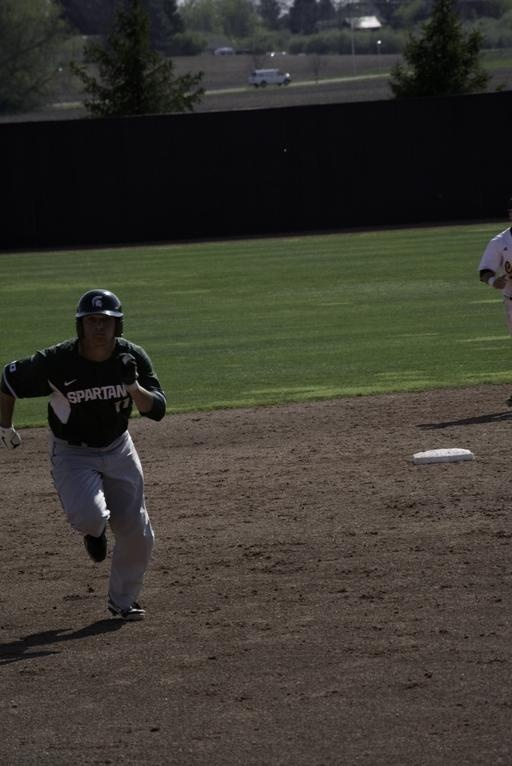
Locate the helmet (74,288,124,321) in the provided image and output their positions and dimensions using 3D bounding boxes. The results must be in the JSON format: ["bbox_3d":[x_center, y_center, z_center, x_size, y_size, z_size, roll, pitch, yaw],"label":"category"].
[{"bbox_3d":[-0.717,-0.354,6.415,0.197,0.125,0.240,-5,11,-8],"label":"helmet"}]

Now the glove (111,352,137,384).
[{"bbox_3d":[-0.582,-0.065,6.252,0.046,0.122,0.090,-9,19,-20],"label":"glove"}]

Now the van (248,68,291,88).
[{"bbox_3d":[0.533,-12.915,60.057,1.715,0.723,1.505,-3,11,0],"label":"van"}]

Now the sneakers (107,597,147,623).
[{"bbox_3d":[-0.598,1.065,6.612,0.192,0.098,0.077,7,-6,29],"label":"sneakers"}]

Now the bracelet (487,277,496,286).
[{"bbox_3d":[1.665,-0.714,10.076,0.060,0.073,0.081,6,11,2],"label":"bracelet"}]
